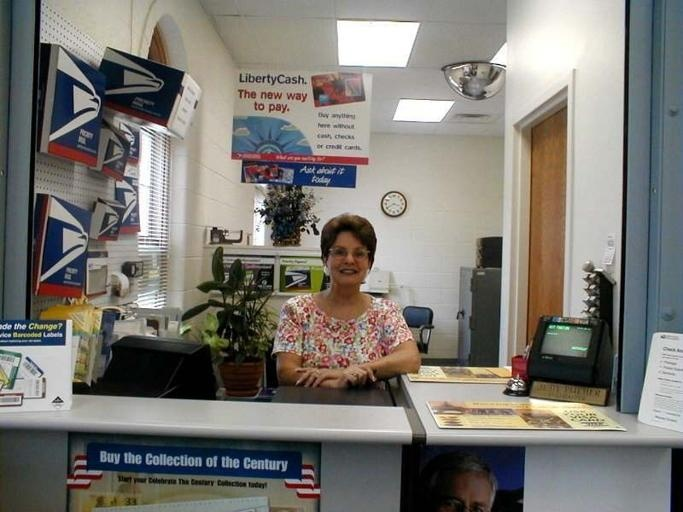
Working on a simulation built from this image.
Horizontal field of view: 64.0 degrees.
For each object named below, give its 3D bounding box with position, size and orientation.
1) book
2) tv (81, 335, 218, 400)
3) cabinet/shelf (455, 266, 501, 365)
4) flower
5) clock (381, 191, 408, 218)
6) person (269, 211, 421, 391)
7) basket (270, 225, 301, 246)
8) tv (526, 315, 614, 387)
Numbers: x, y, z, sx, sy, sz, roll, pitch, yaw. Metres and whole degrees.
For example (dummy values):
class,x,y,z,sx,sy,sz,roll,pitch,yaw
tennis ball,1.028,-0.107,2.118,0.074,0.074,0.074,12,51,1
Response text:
class,x,y,z,sx,sy,sz,roll,pitch,yaw
book,-0.869,0.299,1.796,0.177,0.335,0.241,2,9,3
tv,-0.662,0.404,1.943,0.271,0.181,0.282,3,-7,16
cabinet/shelf,1.629,0.745,6.509,0.439,1.230,0.744,2,4,11
flower,-0.525,-0.345,5.207,0.594,0.594,0.580,1,0,-8
clock,0.719,-0.728,7.542,0.344,0.357,0.047,1,0,2
person,0.022,0.224,2.323,0.613,0.779,0.477,2,-5,1
basket,-0.515,-0.179,4.955,0.197,0.145,0.168,2,0,5
tv,0.770,0.322,1.860,0.231,0.240,0.248,-3,-13,39
